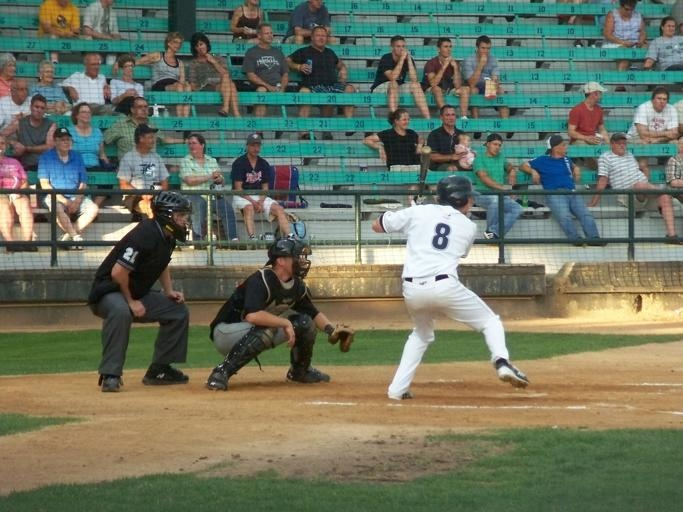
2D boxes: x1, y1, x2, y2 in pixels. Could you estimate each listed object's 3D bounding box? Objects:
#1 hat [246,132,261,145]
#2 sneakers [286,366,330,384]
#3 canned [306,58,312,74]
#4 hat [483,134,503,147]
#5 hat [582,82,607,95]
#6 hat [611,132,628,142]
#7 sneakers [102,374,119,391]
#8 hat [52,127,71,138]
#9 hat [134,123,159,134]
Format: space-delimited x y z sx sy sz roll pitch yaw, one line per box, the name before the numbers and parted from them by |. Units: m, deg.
hat | -1.529 -1.984 30.811 0.233 0.182 0.295 0 2 -6
sneakers | -0.475 1.780 25.680 0.653 0.275 0.234 -1 2 -3
canned | -0.596 -3.516 33.083 0.094 0.251 0.161 1 3 28
hat | 2.815 -2.057 31.725 0.280 0.211 0.493 0 2 0
hat | 4.827 -3.066 32.818 0.347 0.162 0.257 -4 10 -2
hat | 5.121 -2.144 31.875 0.194 0.249 0.232 13 -16 -28
sneakers | -3.347 1.849 25.088 0.347 0.245 0.252 0 3 10
hat | -4.840 -2.071 30.299 0.294 0.171 0.360 -1 2 -11
hat | -3.476 -2.176 30.888 0.337 0.208 0.320 0 2 3
